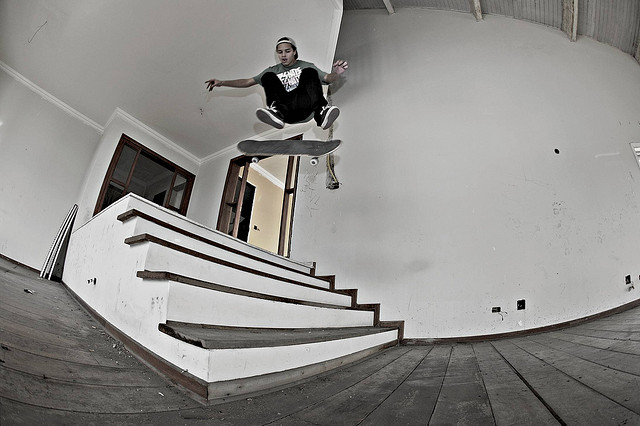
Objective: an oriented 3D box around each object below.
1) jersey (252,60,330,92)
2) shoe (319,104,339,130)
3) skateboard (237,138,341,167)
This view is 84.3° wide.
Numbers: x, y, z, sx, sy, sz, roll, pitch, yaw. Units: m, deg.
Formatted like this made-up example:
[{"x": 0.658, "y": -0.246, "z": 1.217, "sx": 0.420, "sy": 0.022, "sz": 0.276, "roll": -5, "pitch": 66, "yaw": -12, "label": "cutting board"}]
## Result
[{"x": -0.325, "y": -1.515, "z": 3.894, "sx": 0.839, "sy": 0.348, "sz": 0.240, "roll": -4, "pitch": -7, "yaw": 10, "label": "jersey"}, {"x": 0.100, "y": -0.984, "z": 3.665, "sx": 0.129, "sy": 0.161, "sz": 0.275, "roll": -13, "pitch": -31, "yaw": -53, "label": "shoe"}, {"x": -0.472, "y": -0.675, "z": 3.765, "sx": 1.452, "sy": 0.348, "sz": 0.204, "roll": 2, "pitch": -40, "yaw": 1, "label": "skateboard"}]
